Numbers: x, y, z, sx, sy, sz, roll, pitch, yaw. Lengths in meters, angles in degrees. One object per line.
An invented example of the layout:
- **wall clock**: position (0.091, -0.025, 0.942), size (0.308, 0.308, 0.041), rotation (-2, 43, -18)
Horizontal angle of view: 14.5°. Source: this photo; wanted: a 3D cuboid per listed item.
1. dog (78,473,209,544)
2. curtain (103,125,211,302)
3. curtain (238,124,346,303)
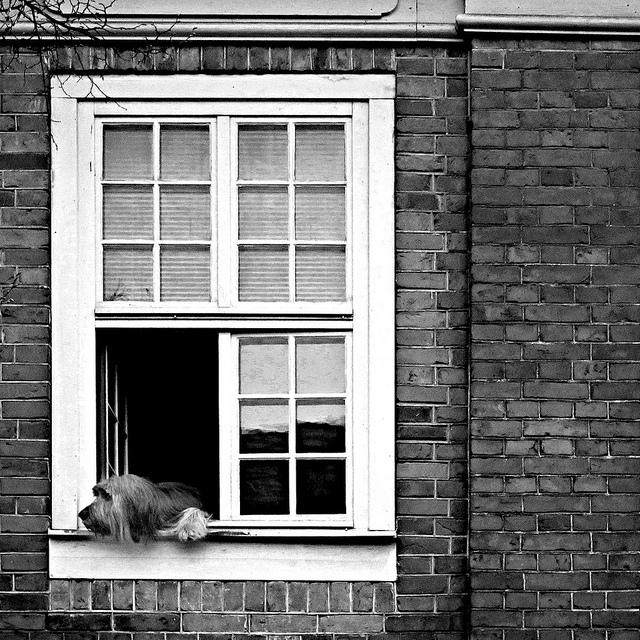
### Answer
- **dog**: position (-0.897, 0.976, 12.638), size (0.409, 0.214, 0.423), rotation (5, -5, -14)
- **curtain**: position (-0.821, -0.519, 12.750), size (0.542, 0.864, 0.172), rotation (0, -11, -3)
- **curtain**: position (-0.137, -0.512, 12.750), size (0.543, 0.871, 0.174), rotation (0, -11, -1)
